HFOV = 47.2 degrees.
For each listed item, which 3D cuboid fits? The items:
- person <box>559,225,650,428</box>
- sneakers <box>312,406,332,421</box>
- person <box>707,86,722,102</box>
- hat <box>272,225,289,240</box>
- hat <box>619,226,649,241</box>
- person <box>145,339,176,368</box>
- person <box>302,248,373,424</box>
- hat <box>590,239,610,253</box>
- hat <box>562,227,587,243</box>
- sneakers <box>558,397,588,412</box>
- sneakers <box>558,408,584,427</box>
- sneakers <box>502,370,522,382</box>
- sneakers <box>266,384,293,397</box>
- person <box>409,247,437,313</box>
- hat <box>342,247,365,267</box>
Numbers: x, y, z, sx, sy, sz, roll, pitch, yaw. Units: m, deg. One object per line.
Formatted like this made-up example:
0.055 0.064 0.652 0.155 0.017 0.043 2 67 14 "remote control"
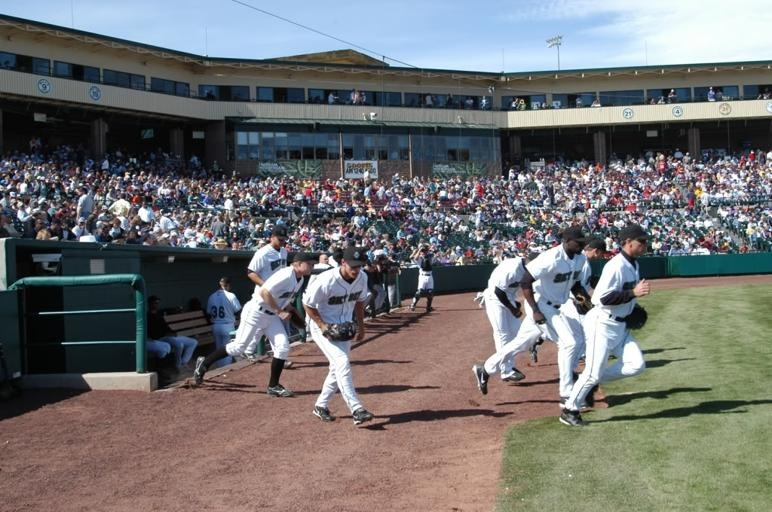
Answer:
3.941 1.199 15.772 1.500 3.465 0.902 -1 12 3 "person"
-1.143 2.898 16.327 0.422 0.187 0.186 12 5 30 "sneakers"
19.314 -9.570 51.884 0.891 0.970 0.928 0 47 19 "person"
-2.194 -0.496 18.143 0.295 0.320 0.317 -3 13 -7 "hat"
4.426 -0.426 15.691 0.389 0.217 0.291 -5 7 -3 "hat"
-5.176 2.210 20.297 0.534 0.775 0.589 -5 13 -14 "person"
-0.877 1.419 16.117 1.137 3.241 1.145 -3 12 -5 "person"
4.006 -0.211 16.532 0.306 0.165 0.219 3 12 -19 "hat"
3.442 -0.430 16.205 0.335 0.183 0.251 -9 14 -6 "hat"
3.501 2.715 16.381 0.607 0.274 0.226 0 6 7 "sneakers"
3.285 2.878 15.827 0.526 0.263 0.190 1 3 34 "sneakers"
2.599 2.429 18.082 0.371 0.201 0.214 -7 9 10 "sneakers"
-2.114 2.647 17.534 0.488 0.233 0.222 1 0 4 "sneakers"
1.154 0.709 28.132 0.662 2.224 1.525 -1 12 2 "person"
-0.590 -0.006 15.792 0.265 0.227 0.383 1 15 -20 "hat"
